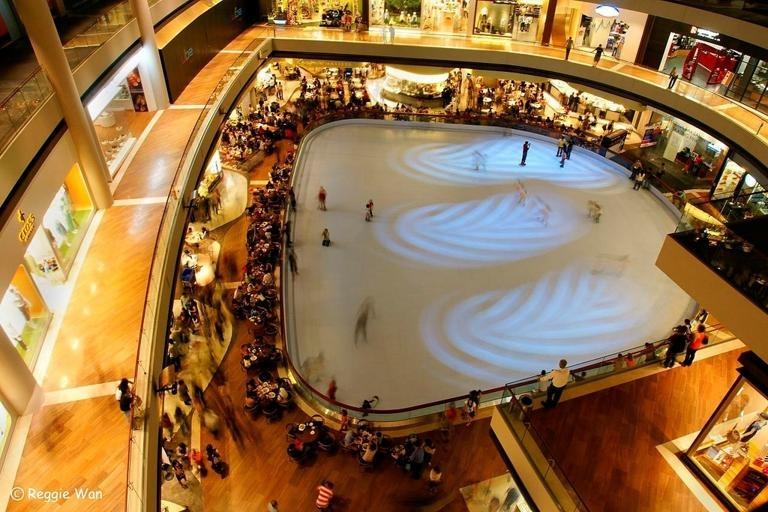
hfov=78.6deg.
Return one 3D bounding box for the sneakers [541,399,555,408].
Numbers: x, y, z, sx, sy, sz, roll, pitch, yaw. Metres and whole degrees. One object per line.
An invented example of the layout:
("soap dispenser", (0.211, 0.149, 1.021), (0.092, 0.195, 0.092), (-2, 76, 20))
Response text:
("sneakers", (4.672, 4.203, 13.296), (0.297, 0.209, 0.115), (-19, 40, -13))
